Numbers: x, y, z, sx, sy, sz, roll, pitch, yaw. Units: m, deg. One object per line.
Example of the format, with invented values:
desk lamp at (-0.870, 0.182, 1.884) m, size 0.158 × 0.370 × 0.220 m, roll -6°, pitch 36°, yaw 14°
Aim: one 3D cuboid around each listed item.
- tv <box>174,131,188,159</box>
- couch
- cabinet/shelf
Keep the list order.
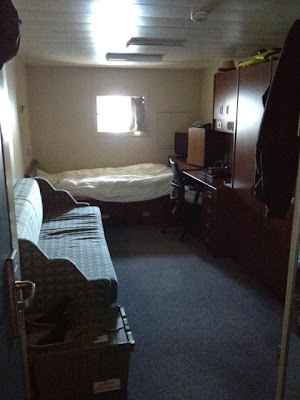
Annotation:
tv at (0.551, -0.926, 5.332) m, size 0.113 × 0.430 × 0.441 m, roll -6°, pitch 14°, yaw -27°
couch at (-0.740, 0.272, 2.593) m, size 0.717 × 0.562 × 1.847 m, roll -1°, pitch 13°, yaw -17°
cabinet/shelf at (0.827, -0.264, 2.815) m, size 0.369 × 1.863 × 1.507 m, roll -1°, pitch 12°, yaw -3°
